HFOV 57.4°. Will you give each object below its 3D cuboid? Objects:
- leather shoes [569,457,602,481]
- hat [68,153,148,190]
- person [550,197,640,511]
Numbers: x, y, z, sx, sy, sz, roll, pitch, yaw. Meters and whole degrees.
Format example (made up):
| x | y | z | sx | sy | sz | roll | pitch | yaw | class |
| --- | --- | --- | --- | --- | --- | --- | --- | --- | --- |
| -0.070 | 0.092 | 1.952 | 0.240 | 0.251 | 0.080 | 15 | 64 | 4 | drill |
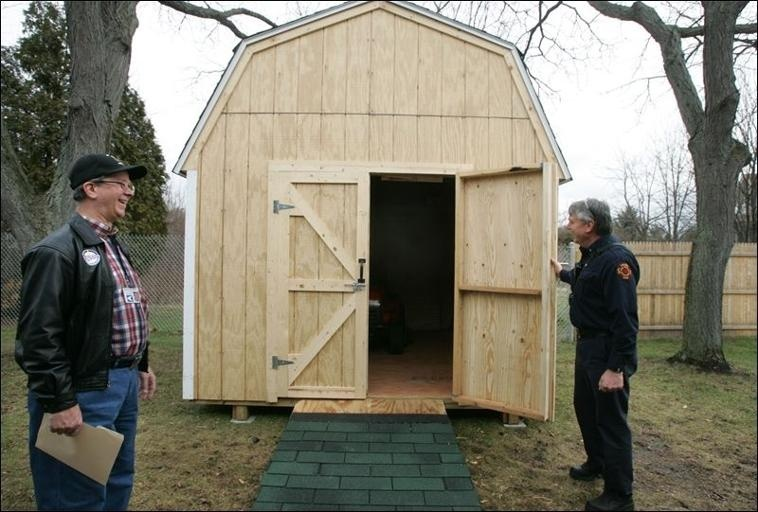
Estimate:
| x | y | z | sx | sy | sz | roll | pitch | yaw | class |
| --- | --- | --- | --- | --- | --- | --- | --- | --- | --- |
| 2.575 | 2.673 | 8.719 | 0.412 | 0.274 | 0.202 | 2 | -4 | 5 | leather shoes |
| -2.977 | -0.887 | 7.649 | 0.712 | 0.322 | 0.425 | -7 | 6 | -12 | hat |
| 2.671 | 1.142 | 8.301 | 0.868 | 3.565 | 0.557 | -3 | 0 | 33 | person |
